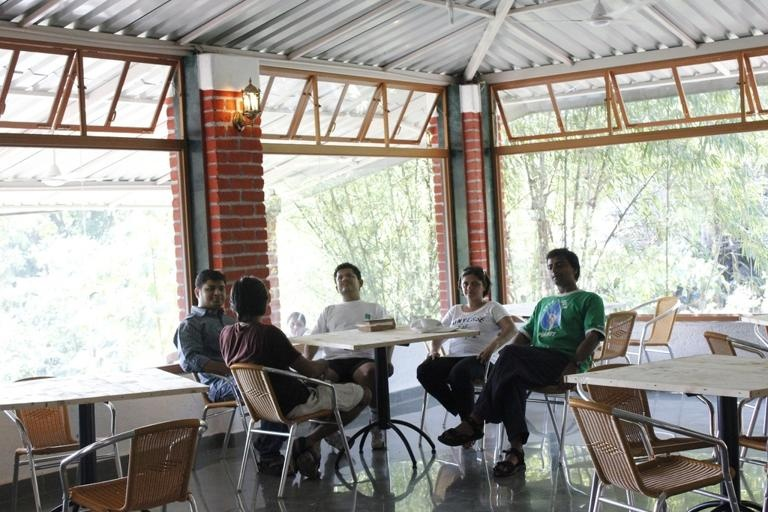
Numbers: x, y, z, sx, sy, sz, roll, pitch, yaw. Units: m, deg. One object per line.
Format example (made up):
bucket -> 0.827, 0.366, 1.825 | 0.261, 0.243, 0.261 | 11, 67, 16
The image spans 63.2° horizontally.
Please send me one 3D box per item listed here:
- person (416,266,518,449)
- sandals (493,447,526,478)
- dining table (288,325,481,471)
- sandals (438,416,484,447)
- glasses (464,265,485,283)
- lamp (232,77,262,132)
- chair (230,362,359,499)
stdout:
person -> 0.728, 0.965, 5.678 | 0.966, 1.654, 0.896 | 29, -37, -31
sandals -> 0.982, 1.596, 4.841 | 0.132, 0.128, 0.324 | -6, -9, 37
dining table -> -0.016, 1.231, 5.347 | 1.272, 1.016, 1.310 | 3, 6, 37
sandals -> 0.679, 1.455, 5.130 | 0.434, 0.170, 0.192 | 0, -1, -28
glasses -> 0.835, 0.152, 5.626 | 0.145, 0.172, 0.085 | 4, 1, 19
lamp -> -1.259, -1.381, 5.729 | 0.203, 0.426, 0.225 | -5, 2, -38
chair -> -0.756, 1.269, 4.894 | 0.891, 0.914, 0.888 | -3, 1, -2
